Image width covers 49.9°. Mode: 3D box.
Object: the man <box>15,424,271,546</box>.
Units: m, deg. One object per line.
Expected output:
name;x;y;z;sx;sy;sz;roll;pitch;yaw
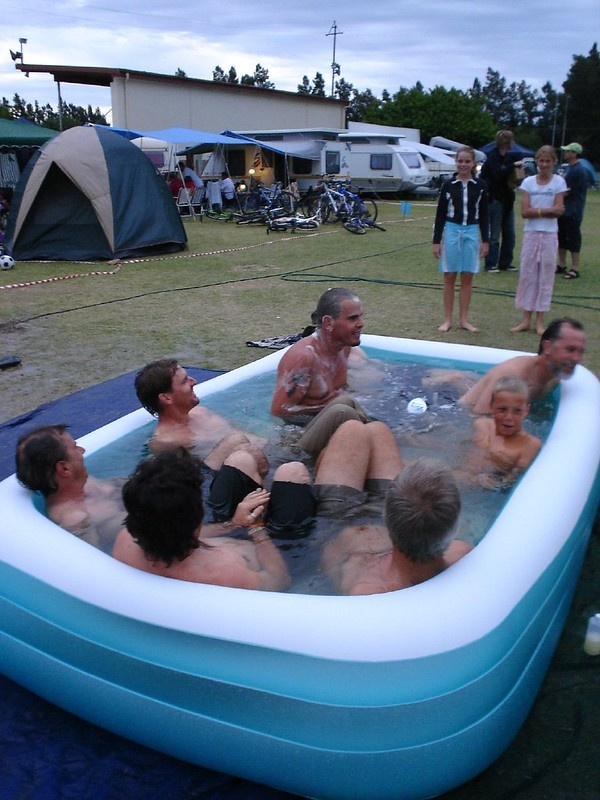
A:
man;-0.551;0.286;2.273;0.768;0.385;0.391;1;37;-11

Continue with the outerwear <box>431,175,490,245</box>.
outerwear;1.400;-1.643;5.587;0.449;0.573;0.372;1;15;15

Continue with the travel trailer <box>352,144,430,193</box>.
travel trailer;2.855;-7.427;20.740;2.257;1.067;1.380;9;29;20

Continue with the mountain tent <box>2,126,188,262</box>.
mountain tent;-3.550;-2.965;10.559;2.892;1.737;2.204;-13;31;-27
